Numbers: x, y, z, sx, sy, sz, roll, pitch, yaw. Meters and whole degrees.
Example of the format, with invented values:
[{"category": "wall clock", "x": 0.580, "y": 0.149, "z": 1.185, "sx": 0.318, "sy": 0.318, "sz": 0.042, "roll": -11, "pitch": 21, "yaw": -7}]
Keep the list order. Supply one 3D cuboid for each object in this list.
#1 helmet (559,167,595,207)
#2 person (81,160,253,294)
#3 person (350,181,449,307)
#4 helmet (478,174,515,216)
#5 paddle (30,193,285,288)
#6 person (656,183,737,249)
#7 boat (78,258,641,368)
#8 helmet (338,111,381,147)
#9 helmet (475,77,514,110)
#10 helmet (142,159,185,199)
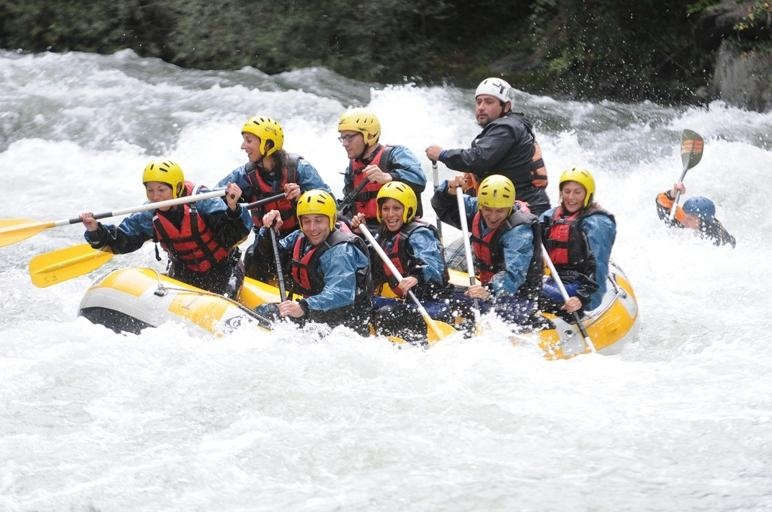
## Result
[{"category": "helmet", "x": 2.126, "y": -0.766, "z": 9.303, "sx": 0.346, "sy": 0.421, "sz": 0.406, "roll": 9, "pitch": 8, "yaw": 23}, {"category": "person", "x": -2.399, "y": -0.256, "z": 9.355, "sx": 1.470, "sy": 1.486, "sz": 1.019, "roll": -3, "pitch": 27, "yaw": 25}, {"category": "person", "x": 0.114, "y": -0.095, "z": 8.916, "sx": 0.805, "sy": 1.431, "sz": 1.062, "roll": 9, "pitch": -19, "yaw": -41}, {"category": "helmet", "x": 1.124, "y": -0.631, "z": 8.749, "sx": 0.306, "sy": 0.337, "sz": 0.376, "roll": 9, "pitch": 14, "yaw": 11}, {"category": "paddle", "x": -2.416, "y": -0.126, "z": 9.273, "sx": 2.978, "sy": 0.377, "sz": 0.192, "roll": -18, "pitch": 21, "yaw": -9}, {"category": "person", "x": 4.389, "y": -0.555, "z": 12.242, "sx": 0.742, "sy": 0.392, "sz": 1.140, "roll": 35, "pitch": -4, "yaw": -15}, {"category": "boat", "x": -0.618, "y": 0.618, "z": 8.656, "sx": 3.666, "sy": 0.588, "sz": 2.044, "roll": 7, "pitch": 1, "yaw": -17}, {"category": "helmet", "x": -0.296, "y": -1.430, "z": 9.593, "sx": 0.461, "sy": 0.339, "sz": 0.334, "roll": -1, "pitch": 5, "yaw": -22}, {"category": "helmet", "x": 1.231, "y": -1.877, "z": 9.783, "sx": 0.371, "sy": 0.277, "sz": 0.280, "roll": 36, "pitch": -24, "yaw": -33}, {"category": "helmet", "x": -2.285, "y": -0.788, "z": 8.827, "sx": 0.399, "sy": 0.367, "sz": 0.241, "roll": -8, "pitch": 20, "yaw": -13}]
